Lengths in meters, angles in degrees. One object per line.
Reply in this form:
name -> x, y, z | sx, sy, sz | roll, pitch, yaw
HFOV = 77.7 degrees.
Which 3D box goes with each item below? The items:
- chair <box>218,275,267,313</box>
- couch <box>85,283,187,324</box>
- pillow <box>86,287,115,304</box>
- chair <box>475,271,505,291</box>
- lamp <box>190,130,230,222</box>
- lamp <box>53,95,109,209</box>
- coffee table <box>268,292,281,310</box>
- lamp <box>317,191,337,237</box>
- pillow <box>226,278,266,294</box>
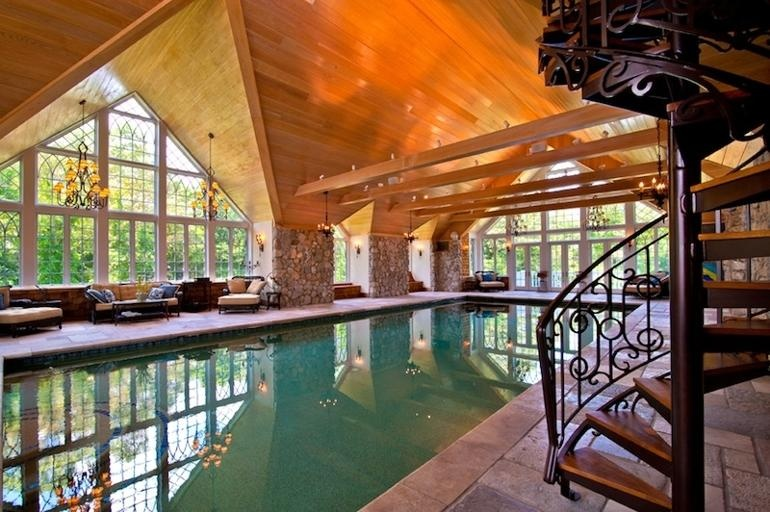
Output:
chair -> -3.554, 0.928, 11.922 | 0.989, 0.857, 1.079 | 2, 1, 3
couch -> -5.587, 0.984, 10.695 | 1.856, 0.707, 0.643 | -2, 6, -40
pillow -> -6.053, 0.805, 10.153 | 0.499, 0.292, 0.645 | -6, 11, -30
chair -> 3.992, 0.915, 18.254 | 0.805, 0.623, 0.849 | 0, -11, -3
lamp -> -4.145, -1.797, 11.250 | 0.802, 2.138, 3.681 | -4, 10, -18
lamp -> -5.678, -1.894, 9.021 | 0.995, 1.892, 1.019 | 8, 6, 37
coffee table -> -2.916, 1.167, 12.613 | 0.489, 0.441, 0.430 | 0, 2, 15
lamp -> -1.637, -1.111, 13.089 | 0.412, 1.371, 1.491 | -3, 10, -8
pillow -> -3.590, 0.753, 12.134 | 0.596, 0.163, 0.569 | 6, 13, -7
